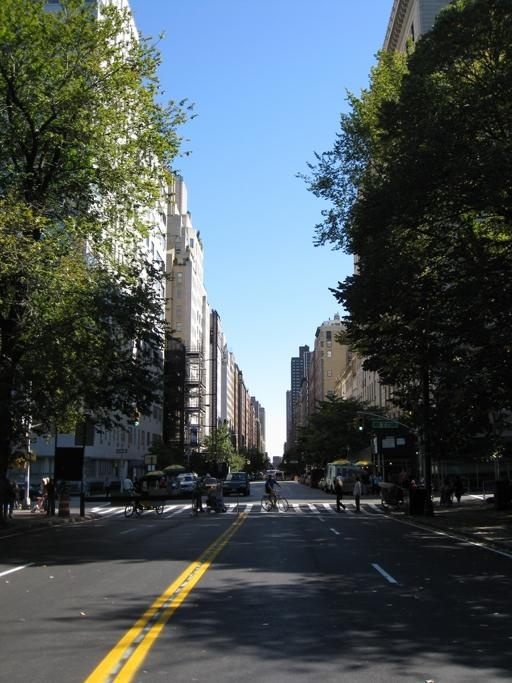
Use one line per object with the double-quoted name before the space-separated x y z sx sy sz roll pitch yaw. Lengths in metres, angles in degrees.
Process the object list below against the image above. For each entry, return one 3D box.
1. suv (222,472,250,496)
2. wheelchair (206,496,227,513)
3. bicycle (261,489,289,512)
"suv" -1.476 9.814 55.968 1.734 1.660 3.119 1 -14 -3
"wheelchair" -1.788 7.326 35.764 0.403 0.579 1.409 0 -19 12
"bicycle" 0.765 7.387 37.417 1.696 1.143 0.865 -11 -13 32
